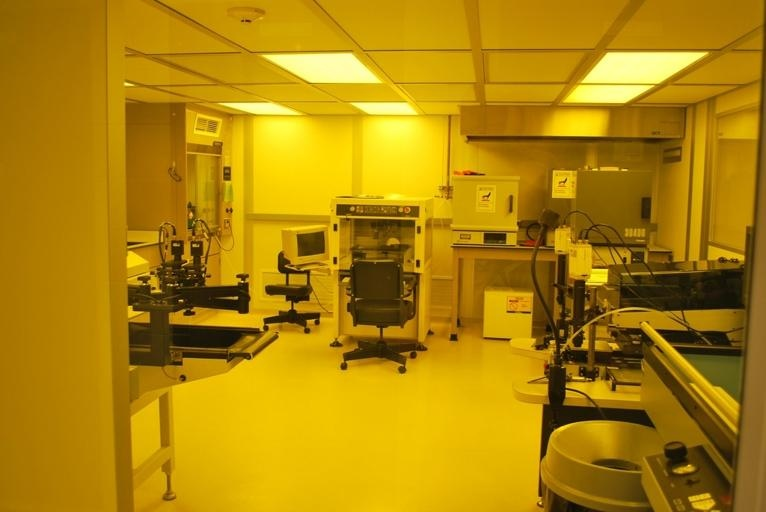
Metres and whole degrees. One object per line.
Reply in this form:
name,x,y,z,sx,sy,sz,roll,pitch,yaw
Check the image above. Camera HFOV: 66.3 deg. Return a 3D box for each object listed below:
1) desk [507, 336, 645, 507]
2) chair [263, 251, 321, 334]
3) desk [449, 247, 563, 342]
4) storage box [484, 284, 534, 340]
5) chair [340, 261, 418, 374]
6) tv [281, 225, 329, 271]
desk,0.909,0.741,2.761,0.661,0.441,0.607,-1,3,3
chair,-0.953,0.341,6.135,0.518,0.756,0.481,0,3,14
desk,1.321,0.243,6.231,1.288,1.082,0.936,0,2,4
storage box,1.251,0.573,6.083,0.498,0.415,0.468,3,-2,-3
chair,-0.011,0.462,5.068,0.613,0.943,0.651,2,11,4
tv,-0.696,-0.115,6.100,0.400,0.339,0.214,-7,-8,18
